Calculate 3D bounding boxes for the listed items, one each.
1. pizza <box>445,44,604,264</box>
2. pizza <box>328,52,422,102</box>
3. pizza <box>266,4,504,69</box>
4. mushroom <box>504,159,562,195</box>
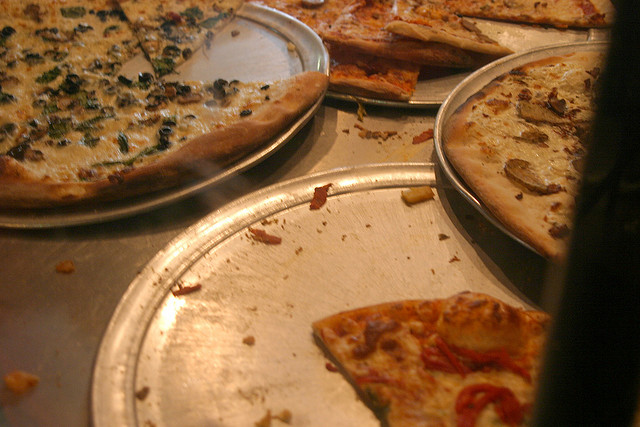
[{"bbox_3d":[1.000,-0.346,3.181,0.944,0.107,0.986,-6,57,-7],"label":"pizza"},{"bbox_3d":[0.299,-0.782,3.668,0.587,0.117,0.641,-14,31,-20],"label":"pizza"},{"bbox_3d":[0.316,-1.042,3.725,0.694,0.087,0.797,20,41,22],"label":"pizza"},{"bbox_3d":[0.982,-0.169,3.052,0.224,0.054,0.139,36,50,24],"label":"mushroom"}]
